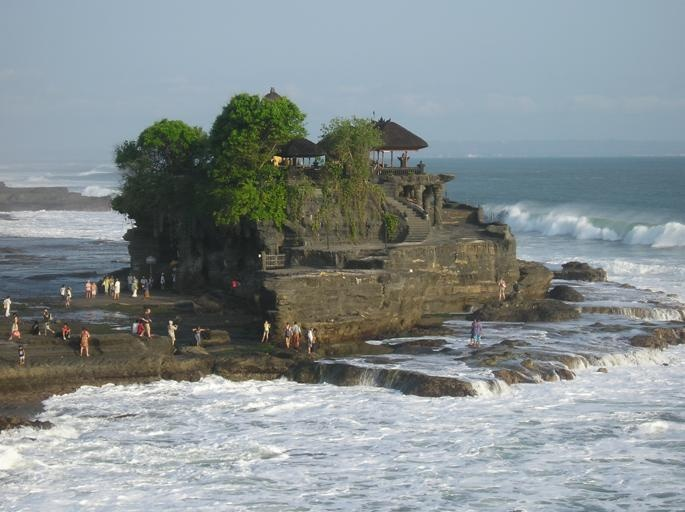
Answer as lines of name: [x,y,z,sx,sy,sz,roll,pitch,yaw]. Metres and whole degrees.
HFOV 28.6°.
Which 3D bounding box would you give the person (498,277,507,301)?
person: [11.776,2.337,98.763,0.422,1.488,1.127,-4,7,7]
